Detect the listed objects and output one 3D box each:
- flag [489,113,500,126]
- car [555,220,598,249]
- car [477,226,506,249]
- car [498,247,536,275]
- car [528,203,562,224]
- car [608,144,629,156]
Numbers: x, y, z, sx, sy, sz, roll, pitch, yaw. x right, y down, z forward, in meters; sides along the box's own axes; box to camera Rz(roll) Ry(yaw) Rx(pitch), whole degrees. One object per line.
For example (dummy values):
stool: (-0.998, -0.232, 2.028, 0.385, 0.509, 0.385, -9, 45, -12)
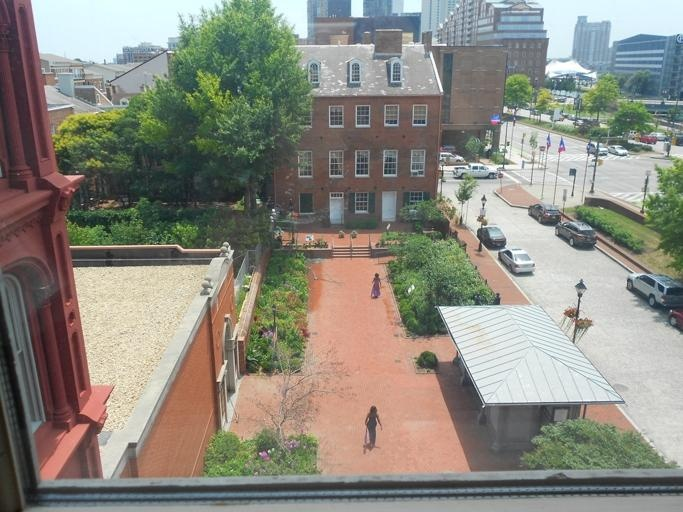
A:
flag: (16.867, -15.123, 66.608, 1.112, 0.829, 1.480, -2, -15, 11)
car: (14.457, -1.395, 37.431, 1.127, 2.105, 2.476, 6, -16, -20)
car: (9.232, -1.215, 37.796, 0.955, 0.817, 2.204, -1, 26, 1)
car: (9.595, 0.226, 33.506, 0.905, 0.752, 2.254, -1, 20, 1)
car: (14.192, -2.988, 42.427, 1.014, 0.921, 2.345, -1, 22, -1)
car: (32.767, -12.696, 72.180, 1.425, 0.747, 2.485, -3, 28, 5)
